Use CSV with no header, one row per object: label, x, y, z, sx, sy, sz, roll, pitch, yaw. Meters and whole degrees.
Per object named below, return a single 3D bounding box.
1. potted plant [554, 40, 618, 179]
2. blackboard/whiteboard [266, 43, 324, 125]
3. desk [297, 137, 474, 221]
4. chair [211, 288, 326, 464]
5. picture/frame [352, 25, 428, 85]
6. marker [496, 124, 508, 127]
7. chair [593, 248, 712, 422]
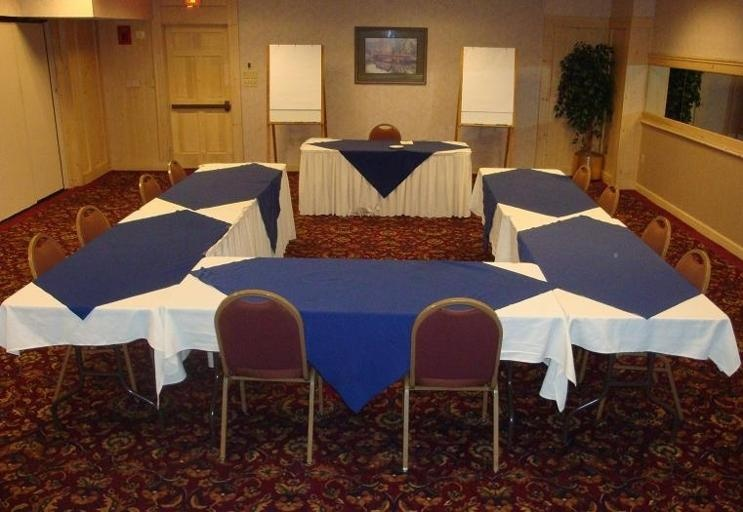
potted plant,3.517,-2.569,9.133,0.914,1.817,0.647,7,24,16
blackboard/whiteboard,-1.217,-2.784,8.885,1.235,1.783,0.117,0,9,1
desk,0.198,-0.999,7.756,2.211,0.995,0.918,1,4,4
chair,-0.684,0.706,3.570,0.680,1.151,0.564,-1,23,-4
picture/frame,0.328,-3.427,9.232,0.884,0.696,0.035,0,13,-1
marker,2.118,-2.110,8.889,0.189,0.067,0.056,0,18,2
chair,1.944,0.548,3.824,0.747,1.249,0.633,-1,33,11
